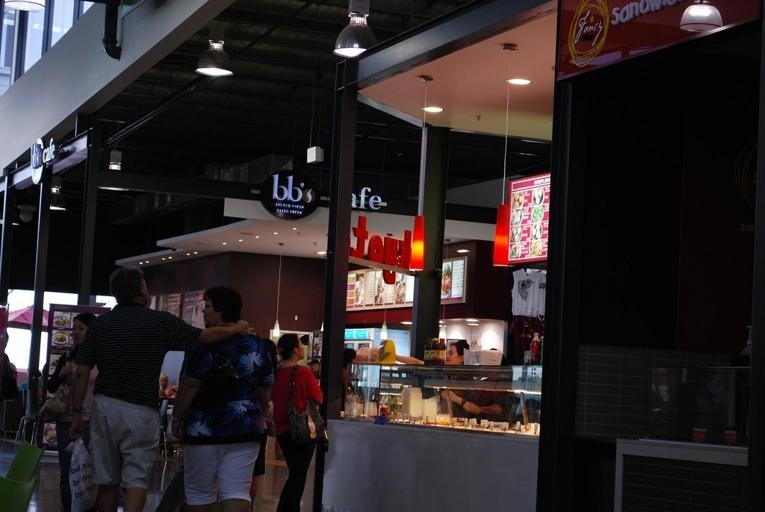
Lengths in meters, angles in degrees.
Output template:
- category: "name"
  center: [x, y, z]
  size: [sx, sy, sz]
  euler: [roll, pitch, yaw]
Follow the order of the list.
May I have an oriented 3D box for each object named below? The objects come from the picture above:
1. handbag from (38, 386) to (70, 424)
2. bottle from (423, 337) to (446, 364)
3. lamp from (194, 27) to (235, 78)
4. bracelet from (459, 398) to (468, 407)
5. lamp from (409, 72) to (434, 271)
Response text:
- category: "handbag"
  center: [-3.096, 1.372, 5.932]
  size: [0.265, 0.354, 0.184]
  euler: [18, -5, -36]
- category: "bottle"
  center: [0.564, 1.016, 6.797]
  size: [0.205, 0.260, 0.279]
  euler: [2, -6, 2]
- category: "lamp"
  center: [-2.249, -2.810, 8.554]
  size: [0.405, 0.591, 0.413]
  euler: [4, 10, -12]
- category: "bracelet"
  center: [0.661, 1.195, 5.144]
  size: [0.038, 0.060, 0.052]
  euler: [4, -11, -2]
- category: "lamp"
  center: [0.511, -1.031, 7.841]
  size: [0.208, 2.355, 0.211]
  euler: [5, 4, 16]
